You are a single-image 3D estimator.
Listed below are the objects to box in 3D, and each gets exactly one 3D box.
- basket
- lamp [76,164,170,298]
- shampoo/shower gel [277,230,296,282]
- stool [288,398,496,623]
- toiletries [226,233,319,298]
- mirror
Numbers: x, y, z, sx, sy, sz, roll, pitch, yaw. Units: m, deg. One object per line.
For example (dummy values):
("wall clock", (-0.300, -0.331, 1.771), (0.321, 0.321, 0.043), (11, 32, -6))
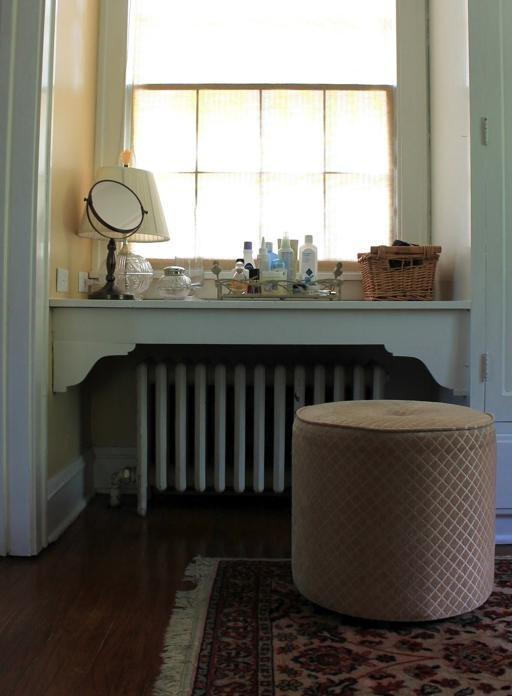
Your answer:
("basket", (0.509, -0.282, 2.506), (0.219, 0.233, 0.337), (1, 10, 5))
("lamp", (-0.465, -0.432, 2.522), (0.293, 0.571, 0.257), (0, -1, 1))
("shampoo/shower gel", (0.109, -0.306, 2.468), (0.037, 0.184, 0.047), (0, 13, 13))
("stool", (0.326, 0.340, 1.744), (0.386, 0.493, 0.451), (0, -1, -1))
("toiletries", (0.033, -0.314, 2.407), (0.235, 0.252, 0.118), (-3, 9, -33))
("mirror", (-0.504, -0.388, 2.498), (0.172, 0.422, 0.198), (0, 3, 14))
